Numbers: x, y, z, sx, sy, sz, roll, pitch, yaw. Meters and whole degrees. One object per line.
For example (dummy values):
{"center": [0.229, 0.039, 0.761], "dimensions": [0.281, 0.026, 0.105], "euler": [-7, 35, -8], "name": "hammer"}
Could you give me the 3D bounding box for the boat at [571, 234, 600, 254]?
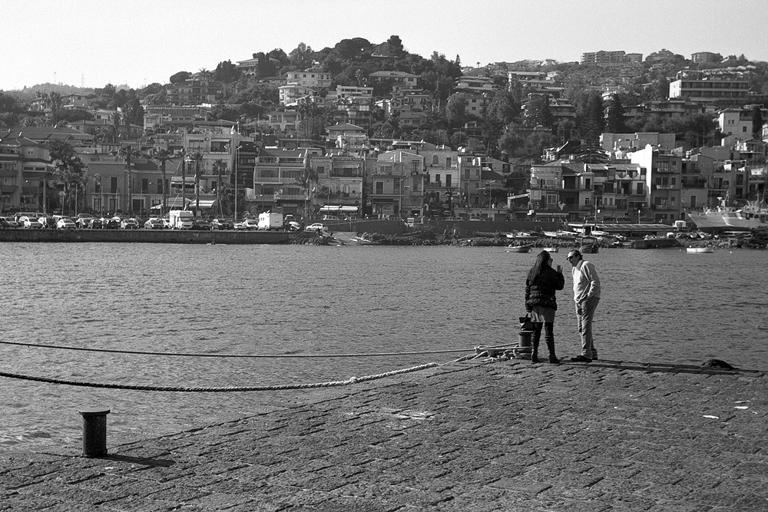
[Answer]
{"center": [23.687, -1.448, 171.004], "dimensions": [2.518, 2.437, 8.667], "euler": [-4, -5, 13], "name": "boat"}
